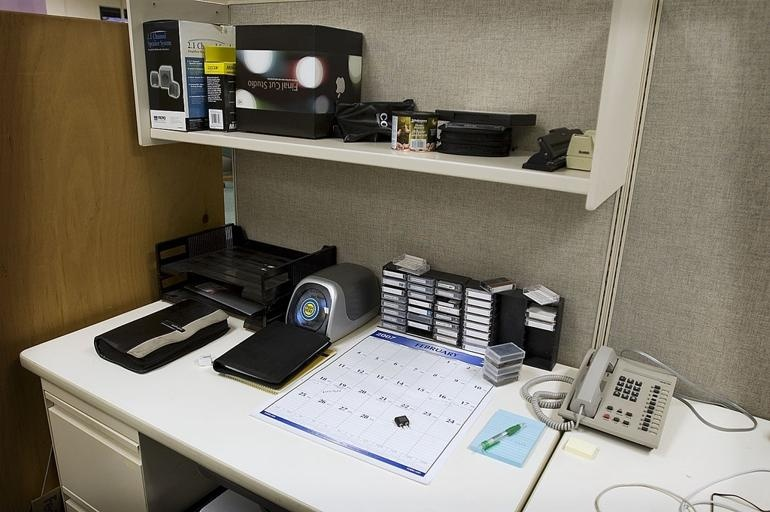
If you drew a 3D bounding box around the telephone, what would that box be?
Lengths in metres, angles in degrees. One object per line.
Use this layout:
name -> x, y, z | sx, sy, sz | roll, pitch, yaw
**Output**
telephone -> 0.759, 0.452, 1.674 | 0.298, 0.102, 0.343 | 9, 34, 30
